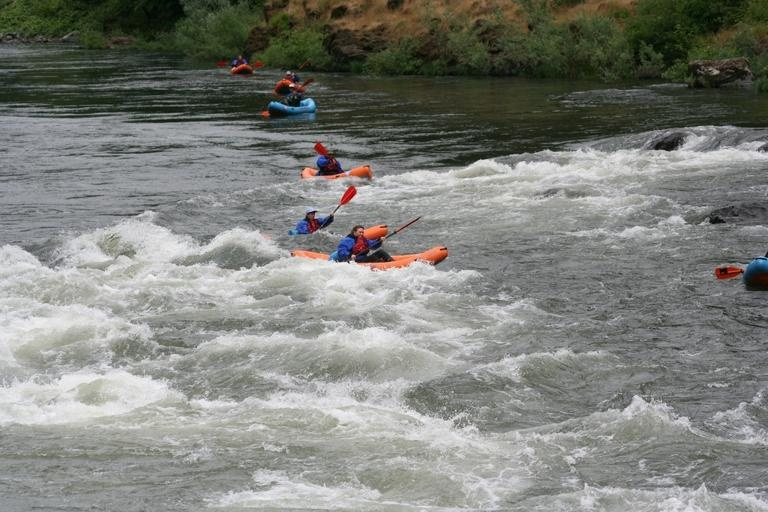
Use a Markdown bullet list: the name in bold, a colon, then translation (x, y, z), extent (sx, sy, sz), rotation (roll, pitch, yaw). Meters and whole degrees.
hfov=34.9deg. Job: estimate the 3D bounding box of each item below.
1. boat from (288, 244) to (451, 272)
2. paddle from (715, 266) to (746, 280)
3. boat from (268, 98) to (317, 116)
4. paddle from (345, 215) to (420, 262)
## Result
- **boat**: translation (-0.318, 0.062, 28.334), extent (2.799, 0.290, 1.072), rotation (-2, 4, 19)
- **paddle**: translation (7.489, 0.354, 26.558), extent (0.625, 0.306, 0.335), rotation (-1, 15, 9)
- **boat**: translation (-3.510, -5.451, 44.538), extent (1.792, 0.359, 0.802), rotation (-4, 7, -38)
- **paddle**: translation (-0.093, -0.395, 29.313), extent (2.291, 0.366, 0.861), rotation (-15, 35, 3)
